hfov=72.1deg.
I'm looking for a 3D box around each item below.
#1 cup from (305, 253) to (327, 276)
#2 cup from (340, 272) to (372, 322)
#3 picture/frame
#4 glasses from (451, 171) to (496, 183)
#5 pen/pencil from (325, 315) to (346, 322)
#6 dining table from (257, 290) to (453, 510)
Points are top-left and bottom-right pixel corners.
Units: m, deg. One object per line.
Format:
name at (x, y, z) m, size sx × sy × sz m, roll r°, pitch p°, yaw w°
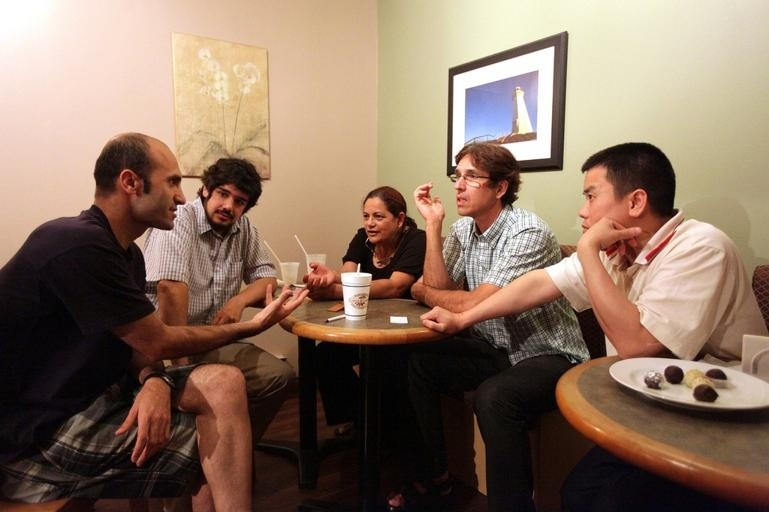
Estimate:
cup at (-0.418, 0.040, 3.138) m, size 0.144 × 0.144 × 0.140 m, roll 1°, pitch 2°, yaw 0°
cup at (-0.138, 0.177, 2.475) m, size 0.128 × 0.236 × 0.140 m, roll 0°, pitch 16°, yaw 0°
picture/frame at (0.805, -0.979, 3.330) m, size 0.048 × 0.947 × 1.142 m, roll 2°, pitch -4°, yaw -41°
glasses at (0.482, -0.407, 2.767) m, size 0.117 × 0.032 × 0.113 m, roll 7°, pitch -1°, yaw -30°
pen/pencil at (-0.230, 0.289, 2.450) m, size 0.014 × 0.012 × 0.106 m, roll -3°, pitch 5°, yaw 33°
dining table at (-0.006, 0.714, 2.711) m, size 0.981 × 0.822 × 0.884 m, roll -1°, pitch 3°, yaw -43°
